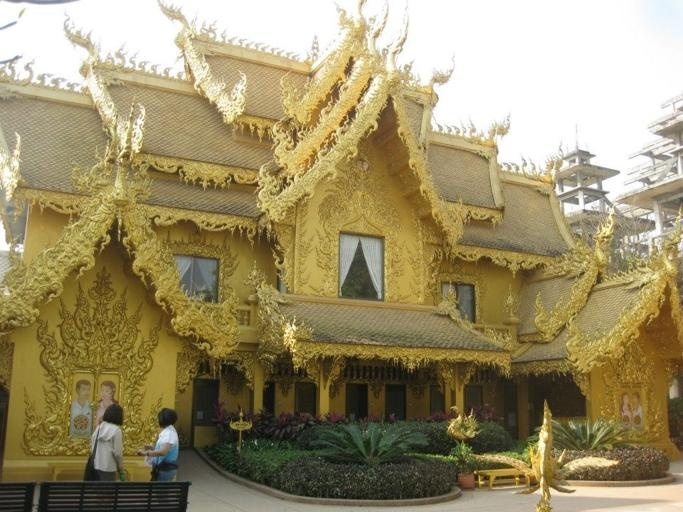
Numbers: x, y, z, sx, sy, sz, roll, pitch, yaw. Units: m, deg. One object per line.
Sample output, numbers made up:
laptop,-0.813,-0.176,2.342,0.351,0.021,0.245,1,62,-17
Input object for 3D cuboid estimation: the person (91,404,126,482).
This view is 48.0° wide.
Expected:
person,-3.031,2.413,9.965,0.410,0.979,0.481,5,-18,-15

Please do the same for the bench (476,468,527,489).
bench,3.123,4.312,14.893,1.077,0.396,0.717,1,-18,-6

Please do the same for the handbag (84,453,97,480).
handbag,-3.254,2.711,9.848,0.240,0.316,0.134,-15,-23,40

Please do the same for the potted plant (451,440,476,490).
potted plant,2.447,4.151,15.072,0.421,0.854,0.399,5,-18,-8
